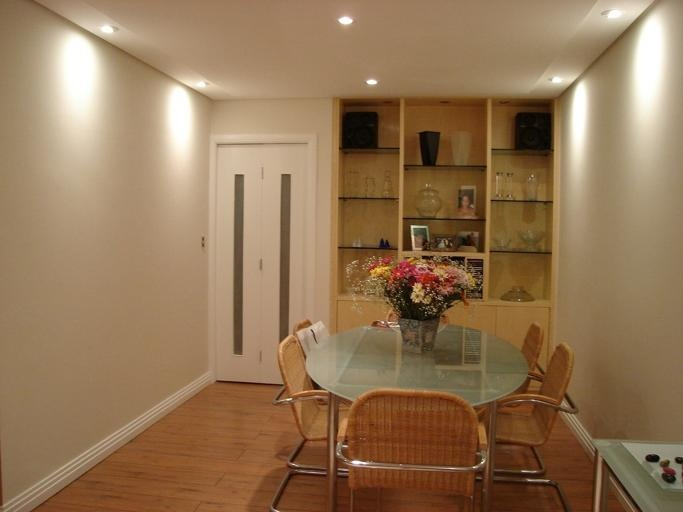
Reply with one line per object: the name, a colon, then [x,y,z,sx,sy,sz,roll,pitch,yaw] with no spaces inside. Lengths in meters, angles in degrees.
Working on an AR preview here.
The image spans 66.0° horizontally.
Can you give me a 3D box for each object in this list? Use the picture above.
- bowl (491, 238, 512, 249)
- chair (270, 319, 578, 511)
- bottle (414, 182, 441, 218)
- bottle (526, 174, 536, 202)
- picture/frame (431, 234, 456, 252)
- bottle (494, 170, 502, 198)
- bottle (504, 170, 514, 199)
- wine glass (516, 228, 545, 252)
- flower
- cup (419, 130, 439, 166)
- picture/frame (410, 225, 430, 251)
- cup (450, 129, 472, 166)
bowl: [1.579,-0.118,5.225,0.137,0.088,0.141,-3,8,0]
chair: [0.464,1.067,3.415,1.840,1.052,1.233,0,13,-1]
bottle: [0.838,-0.541,5.165,0.289,0.389,0.296,0,-3,0]
bottle: [1.846,-0.660,5.119,0.106,0.238,0.154,4,13,18]
picture/frame: [1.005,-0.120,5.212,0.262,0.153,0.188,5,-5,10]
bottle: [1.559,-0.706,5.238,0.091,0.242,0.147,3,13,13]
bottle: [1.661,-0.702,5.244,0.107,0.251,0.142,3,13,12]
wine glass: [1.857,-0.151,5.162,0.255,0.197,0.275,5,13,19]
flower: [0.527,0.236,3.529,0.739,0.395,0.758,-3,6,39]
cup: [0.841,-1.058,5.195,0.213,0.325,0.166,6,14,25]
picture/frame: [0.764,-0.173,5.184,0.248,0.345,0.033,-1,-1,-1]
cup: [1.146,-1.055,5.176,0.210,0.322,0.203,0,13,0]
